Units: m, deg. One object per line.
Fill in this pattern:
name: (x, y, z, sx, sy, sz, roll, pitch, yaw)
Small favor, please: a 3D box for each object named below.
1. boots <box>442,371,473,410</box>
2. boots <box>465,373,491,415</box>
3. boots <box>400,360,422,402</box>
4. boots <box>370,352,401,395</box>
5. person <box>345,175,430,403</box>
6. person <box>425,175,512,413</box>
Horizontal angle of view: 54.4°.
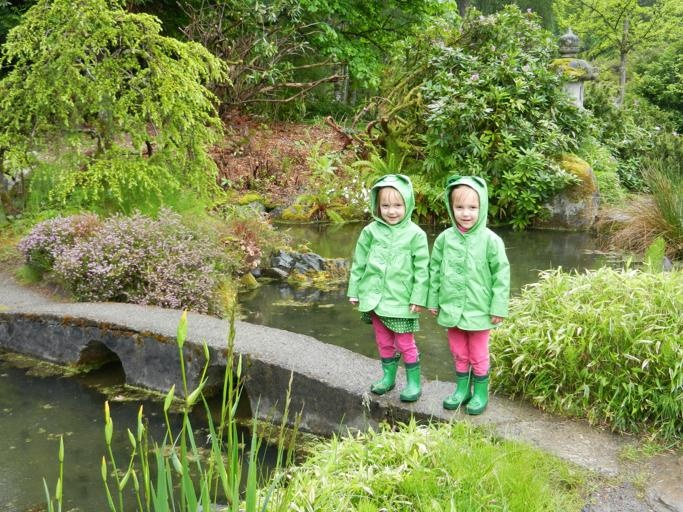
boots: (0.902, 1.032, 5.169, 0.284, 0.277, 0.132, -14, 21, -29)
boots: (1.041, 1.059, 5.115, 0.136, 0.284, 0.302, 8, 18, 33)
boots: (0.545, 0.990, 5.241, 0.143, 0.292, 0.310, -1, 9, 25)
boots: (0.399, 0.942, 5.344, 0.332, 0.332, 0.187, -7, 12, -45)
person: (0.365, 0.243, 5.255, 0.620, 1.763, 0.344, 2, 6, 2)
person: (0.959, 0.297, 5.105, 0.594, 1.811, 0.303, 3, 6, 7)
